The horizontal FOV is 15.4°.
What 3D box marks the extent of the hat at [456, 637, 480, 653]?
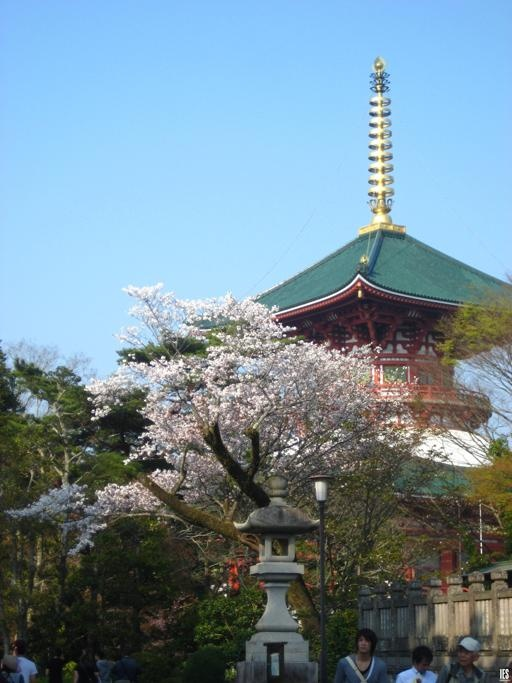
[{"bbox_3d":[3.332,4.678,29.493,0.347,0.227,0.313,1,-11,-11],"label":"hat"}]
